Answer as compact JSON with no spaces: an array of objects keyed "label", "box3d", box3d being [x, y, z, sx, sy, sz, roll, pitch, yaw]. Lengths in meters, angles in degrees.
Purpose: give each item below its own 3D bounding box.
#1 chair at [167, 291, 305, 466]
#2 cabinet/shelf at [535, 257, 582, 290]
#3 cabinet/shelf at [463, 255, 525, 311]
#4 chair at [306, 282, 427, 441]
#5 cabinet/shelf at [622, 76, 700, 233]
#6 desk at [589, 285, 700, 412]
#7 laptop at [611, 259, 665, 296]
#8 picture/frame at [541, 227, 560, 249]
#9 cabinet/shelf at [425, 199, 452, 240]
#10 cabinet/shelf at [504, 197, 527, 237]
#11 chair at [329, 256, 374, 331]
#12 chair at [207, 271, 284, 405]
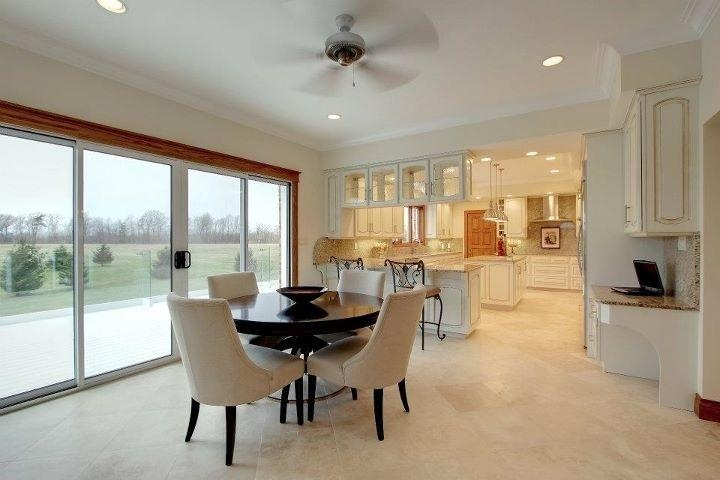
[{"label":"chair","box3d":[-1.156,1.154,4.212,0.979,1.407,1.098,2,6,17]},{"label":"cabinet/shelf","box3d":[4.130,0.692,9.415,0.734,0.581,0.286,-2,-5,36]},{"label":"cabinet/shelf","box3d":[2.424,0.746,8.167,0.784,1.044,1.482,-1,-2,28]},{"label":"chair","box3d":[0.085,1.059,4.400,1.001,1.341,0.925,3,9,20]},{"label":"cabinet/shelf","box3d":[2.952,-0.852,4.419,0.541,1.435,1.517,-1,0,28]},{"label":"desk","box3d":[3.059,0.997,4.970,0.861,1.141,1.530,0,-2,29]},{"label":"laptop","box3d":[3.030,0.420,4.910,0.357,0.389,0.452,-3,5,-18]},{"label":"picture/frame","box3d":[4.165,-0.047,9.941,0.469,0.630,0.024,1,0,43]},{"label":"cabinet/shelf","box3d":[1.567,-0.414,9.270,0.274,0.694,0.802,-1,-2,22]},{"label":"cabinet/shelf","box3d":[3.399,-0.508,10.017,0.463,0.862,0.119,-2,0,34]},{"label":"chair","box3d":[-0.097,0.584,4.978,0.513,0.689,0.625,-7,-8,32]},{"label":"chair","box3d":[-1.303,0.717,5.000,0.669,0.820,0.625,0,1,-33]}]
